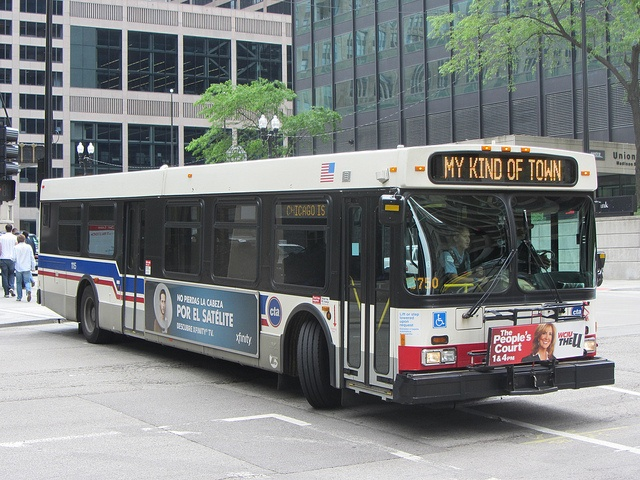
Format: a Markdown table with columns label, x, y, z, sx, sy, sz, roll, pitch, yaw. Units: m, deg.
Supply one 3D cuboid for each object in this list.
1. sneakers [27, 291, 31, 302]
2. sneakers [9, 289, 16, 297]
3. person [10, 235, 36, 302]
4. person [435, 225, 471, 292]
| label | x | y | z | sx | sy | sz | roll | pitch | yaw |
| --- | --- | --- | --- | --- | --- | --- | --- | --- | --- |
| sneakers | -8.190 | 1.609 | 22.161 | 0.121 | 0.340 | 0.138 | -4 | 6 | -43 |
| sneakers | -9.302 | 1.609 | 23.719 | 0.158 | 0.205 | 0.473 | -42 | 7 | -11 |
| person | -8.520 | 0.819 | 22.616 | 0.596 | 1.949 | 1.520 | -2 | 4 | -21 |
| person | 1.677 | 0.287 | 9.417 | 0.426 | 0.848 | 0.432 | 4 | -1 | 26 |
